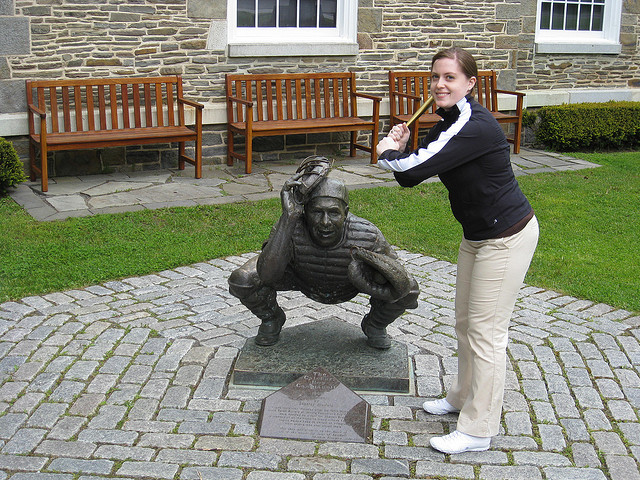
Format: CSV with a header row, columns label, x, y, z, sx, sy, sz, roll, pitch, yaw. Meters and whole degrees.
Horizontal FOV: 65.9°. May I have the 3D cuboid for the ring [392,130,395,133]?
label,x,y,z,sx,sy,sz,roll,pitch,yaw
ring,0.395,-0.579,2.626,0.016,0.018,0.007,4,10,12

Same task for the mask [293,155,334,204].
label,x,y,z,sx,sy,sz,roll,pitch,yaw
mask,-0.088,-0.377,3.018,0.337,0.258,0.358,-1,20,-10

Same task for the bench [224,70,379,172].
label,x,y,z,sx,sy,sz,roll,pitch,yaw
bench,-0.300,-2.233,8.923,2.828,1.692,1.332,-9,18,-25

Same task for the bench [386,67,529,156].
label,x,y,z,sx,sy,sz,roll,pitch,yaw
bench,2.816,-2.553,10.005,2.756,1.525,1.016,-10,30,-24

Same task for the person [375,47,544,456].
label,x,y,z,sx,sy,sz,roll,pitch,yaw
person,0.699,0.084,2.580,0.658,2.080,0.592,12,23,37
